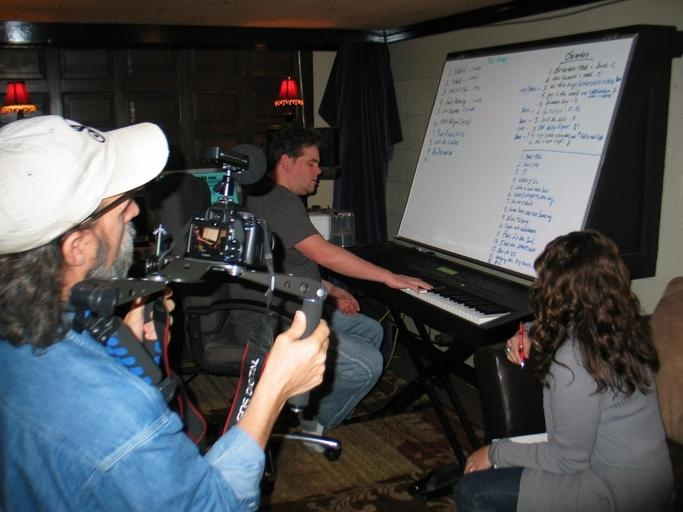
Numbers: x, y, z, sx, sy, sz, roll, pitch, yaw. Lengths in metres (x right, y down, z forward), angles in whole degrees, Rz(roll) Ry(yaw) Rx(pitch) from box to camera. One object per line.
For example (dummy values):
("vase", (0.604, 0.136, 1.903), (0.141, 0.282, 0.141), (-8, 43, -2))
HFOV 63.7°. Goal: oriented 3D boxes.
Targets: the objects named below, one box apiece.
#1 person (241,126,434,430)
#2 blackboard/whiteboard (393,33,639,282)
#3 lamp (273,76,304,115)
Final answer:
("person", (-0.039, 0.220, 3.152), (1.216, 1.852, 0.903), (6, 25, 4))
("blackboard/whiteboard", (0.815, -0.517, 2.816), (0.078, 1.112, 1.335), (4, 11, -27))
("lamp", (-0.452, -1.384, 4.754), (0.243, 0.289, 0.245), (11, 20, 32))
